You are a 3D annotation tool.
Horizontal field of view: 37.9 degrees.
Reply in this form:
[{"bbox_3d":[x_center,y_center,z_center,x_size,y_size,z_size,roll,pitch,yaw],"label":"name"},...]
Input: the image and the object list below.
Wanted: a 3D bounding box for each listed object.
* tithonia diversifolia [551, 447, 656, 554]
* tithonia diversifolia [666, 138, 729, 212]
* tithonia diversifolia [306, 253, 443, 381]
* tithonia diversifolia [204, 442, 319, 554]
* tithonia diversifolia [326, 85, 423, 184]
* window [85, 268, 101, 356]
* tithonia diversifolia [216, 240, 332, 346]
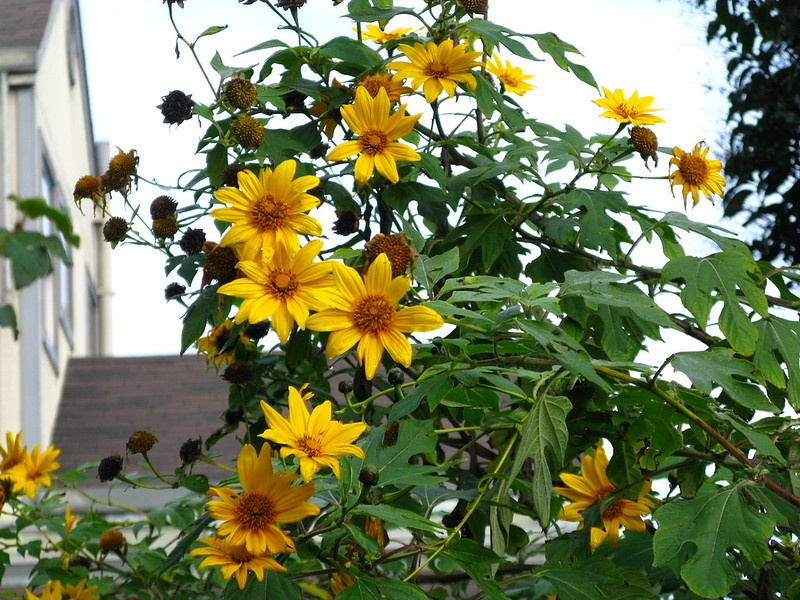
[{"bbox_3d":[0.623,0.585,3.535,0.288,0.351,0.249,-9,-31,11],"label":"tithonia diversifolia"},{"bbox_3d":[0.942,-0.427,3.749,0.194,0.076,0.196,-16,-24,14],"label":"tithonia diversifolia"},{"bbox_3d":[-0.069,0.060,3.220,0.374,0.332,0.198,-6,-30,6],"label":"tithonia diversifolia"},{"bbox_3d":[-0.395,0.568,3.146,0.340,0.327,0.131,15,-39,-23],"label":"tithonia diversifolia"},{"bbox_3d":[-0.084,-0.487,3.481,0.283,0.335,0.267,2,-30,-7],"label":"tithonia diversifolia"},{"bbox_3d":[-3.779,0.187,14.362,0.158,1.046,0.163,-1,0,-26],"label":"window"},{"bbox_3d":[-0.346,-0.047,3.310,0.373,0.102,0.408,-9,-10,-9],"label":"tithonia diversifolia"}]
